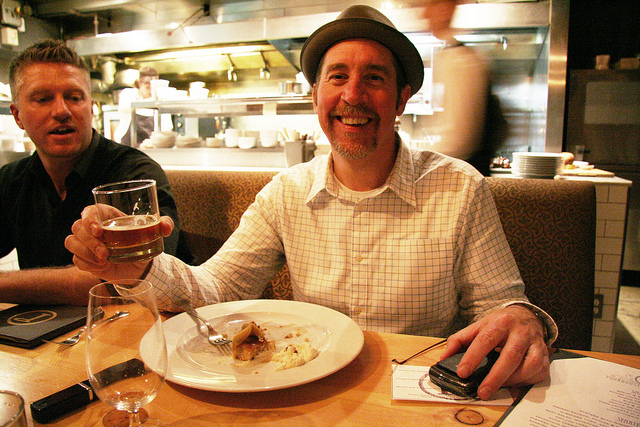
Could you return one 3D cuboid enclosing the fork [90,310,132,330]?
[{"bbox_3d":[-0.617,0.312,1.436,0.121,0.018,0.014,-21,11,-11],"label":"fork"}]

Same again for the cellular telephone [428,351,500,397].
[{"bbox_3d":[0.491,0.522,1.627,0.238,0.099,0.116,-5,13,-29],"label":"cellular telephone"}]

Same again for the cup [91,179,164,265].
[{"bbox_3d":[-0.658,0.036,1.697,0.197,0.257,0.089,-6,14,-28],"label":"cup"}]
